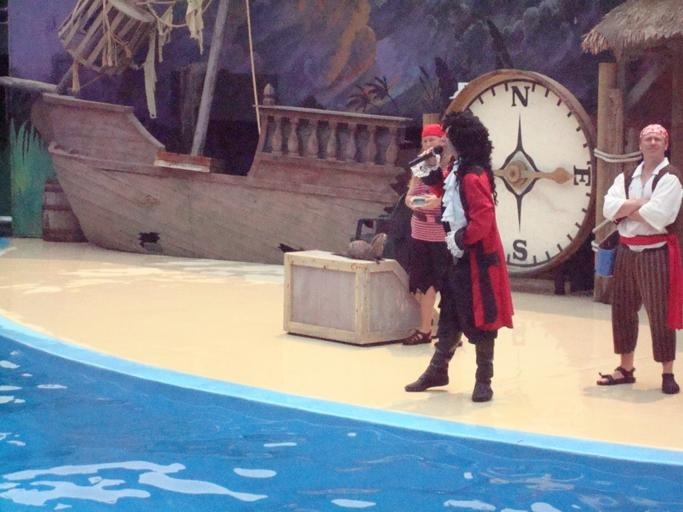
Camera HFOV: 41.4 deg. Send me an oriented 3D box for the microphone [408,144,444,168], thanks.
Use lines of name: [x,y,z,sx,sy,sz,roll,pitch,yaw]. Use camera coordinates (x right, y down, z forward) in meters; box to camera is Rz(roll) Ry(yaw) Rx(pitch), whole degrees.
microphone: [0.636,-0.760,6.770,0.101,0.132,0.456,-8,-11,-23]

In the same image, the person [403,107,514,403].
person: [0.856,0.011,6.339,0.696,1.973,0.553,2,15,14]

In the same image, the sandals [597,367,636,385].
sandals: [2.026,0.883,6.689,0.283,0.121,0.124,1,-3,-11]

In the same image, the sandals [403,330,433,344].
sandals: [0.660,0.693,7.797,0.274,0.115,0.100,1,-1,-16]
